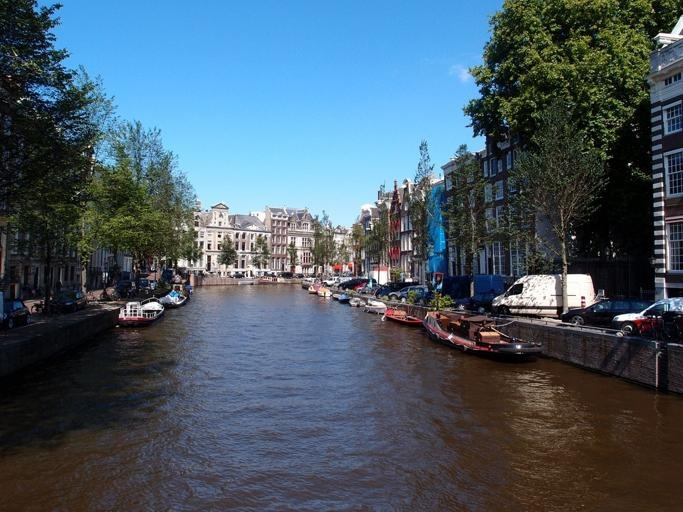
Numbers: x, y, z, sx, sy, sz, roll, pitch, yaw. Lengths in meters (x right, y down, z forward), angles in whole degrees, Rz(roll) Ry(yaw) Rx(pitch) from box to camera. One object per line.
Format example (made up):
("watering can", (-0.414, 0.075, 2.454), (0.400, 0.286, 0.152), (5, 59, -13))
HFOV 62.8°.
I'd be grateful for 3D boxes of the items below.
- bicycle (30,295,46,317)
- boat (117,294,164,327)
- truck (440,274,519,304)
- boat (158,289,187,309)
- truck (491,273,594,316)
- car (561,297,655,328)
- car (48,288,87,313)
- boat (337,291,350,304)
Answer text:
("bicycle", (-24.543, 3.991, 45.171), (0.961, 1.274, 2.131), (1, -7, -8))
("boat", (-16.887, 4.640, 46.944), (2.425, 2.020, 4.807), (0, 7, -2))
("truck", (11.710, 2.966, 49.390), (2.677, 2.329, 4.611), (0, 2, -40))
("boat", (-19.093, 4.957, 63.647), (2.059, 1.359, 3.711), (3, 8, -6))
("truck", (14.518, 2.690, 39.915), (6.096, 2.909, 2.760), (-1, -3, 30))
("car", (15.699, 3.248, 33.415), (4.513, 1.515, 2.034), (0, -4, 17))
("car", (-21.542, 3.632, 43.882), (2.039, 1.572, 3.090), (-2, 7, -18))
("boat", (0.229, 5.533, 75.777), (1.223, 1.220, 4.091), (0, -4, -3))
